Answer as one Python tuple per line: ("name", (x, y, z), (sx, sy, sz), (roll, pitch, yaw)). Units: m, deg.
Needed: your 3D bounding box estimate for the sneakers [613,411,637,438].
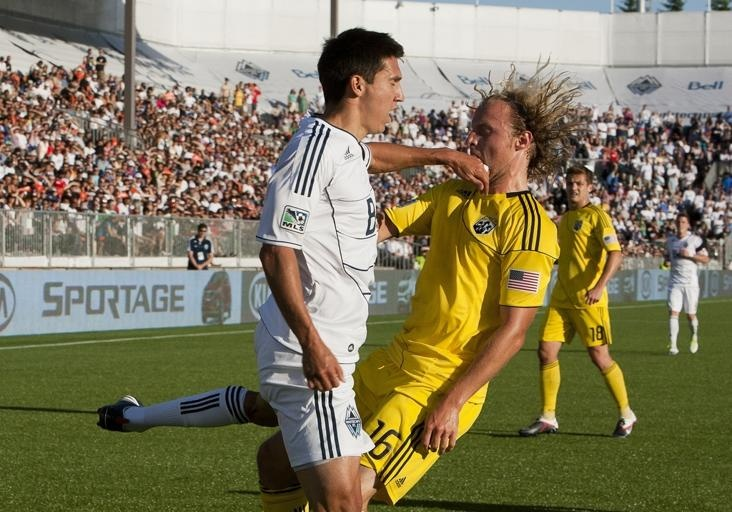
("sneakers", (4.884, 3.156, 23.796), (0.255, 0.292, 0.621), (-7, 10, 32))
